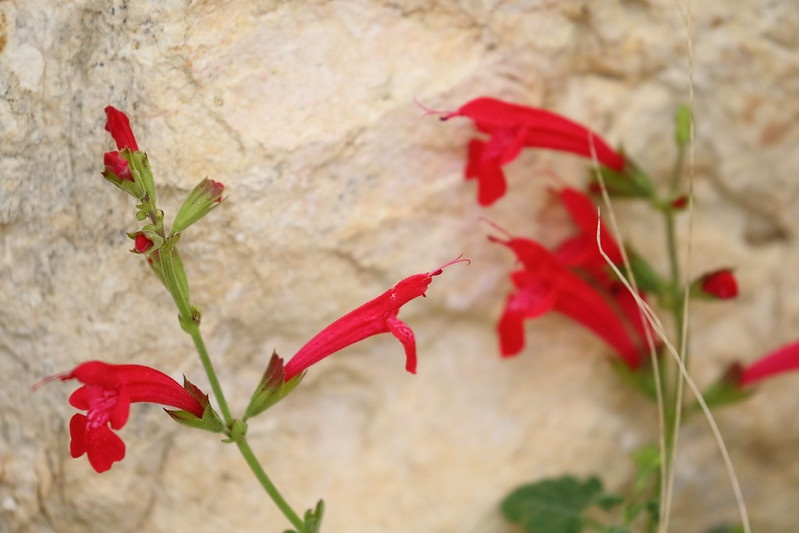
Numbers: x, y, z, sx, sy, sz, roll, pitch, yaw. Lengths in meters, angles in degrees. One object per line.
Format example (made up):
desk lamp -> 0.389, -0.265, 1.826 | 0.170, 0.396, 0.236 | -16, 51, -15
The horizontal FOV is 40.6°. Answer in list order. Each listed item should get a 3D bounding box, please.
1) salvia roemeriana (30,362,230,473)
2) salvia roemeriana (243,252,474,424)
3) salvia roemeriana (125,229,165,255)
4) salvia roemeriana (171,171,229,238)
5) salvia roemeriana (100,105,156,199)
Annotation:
salvia roemeriana -> -0.620, 0.299, 2.422 | 0.351, 0.192, 0.219 | -8, 0, -20
salvia roemeriana -> -0.134, 0.203, 2.573 | 0.666, 0.351, 0.131 | -6, 13, 22
salvia roemeriana -> -0.574, -0.054, 2.420 | 0.059, 0.021, 0.062 | 45, 67, 9
salvia roemeriana -> -0.455, -0.136, 2.502 | 0.163, 0.087, 0.069 | -54, 36, -6
salvia roemeriana -> -0.610, -0.252, 2.398 | 0.096, 0.219, 0.082 | -12, -3, -44
